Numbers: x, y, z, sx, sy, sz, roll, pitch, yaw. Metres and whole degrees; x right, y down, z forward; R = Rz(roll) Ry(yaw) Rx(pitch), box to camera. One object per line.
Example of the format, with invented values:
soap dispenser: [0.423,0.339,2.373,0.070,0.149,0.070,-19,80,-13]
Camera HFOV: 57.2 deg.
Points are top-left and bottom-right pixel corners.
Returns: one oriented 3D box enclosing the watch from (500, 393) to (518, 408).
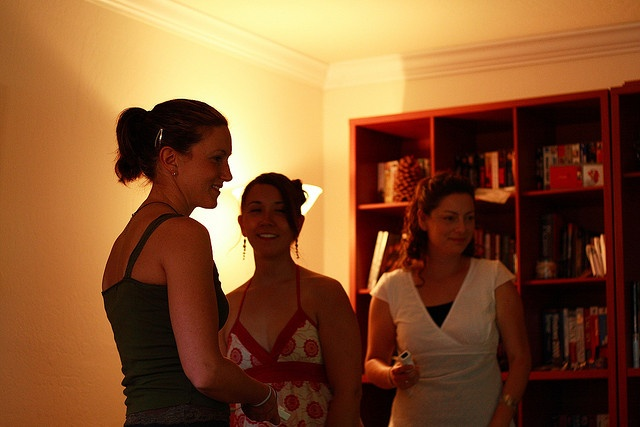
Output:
watch: [0.889,0.879,2.760,0.062,0.048,0.063,39,10,9]

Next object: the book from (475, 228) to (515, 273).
book: [1.164,0.248,3.915,0.287,0.285,0.105,-2,-14,24]

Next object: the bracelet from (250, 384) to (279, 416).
bracelet: [-0.190,0.627,1.985,0.070,0.067,0.083,-1,2,34]

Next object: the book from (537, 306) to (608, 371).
book: [1.735,0.846,4.208,0.494,0.519,0.383,-2,-12,12]

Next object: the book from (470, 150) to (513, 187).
book: [1.277,-0.319,4.401,0.345,0.344,0.255,0,-3,-19]

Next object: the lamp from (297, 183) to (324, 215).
lamp: [-0.064,-0.119,4.530,0.210,0.223,0.208,5,-3,31]
